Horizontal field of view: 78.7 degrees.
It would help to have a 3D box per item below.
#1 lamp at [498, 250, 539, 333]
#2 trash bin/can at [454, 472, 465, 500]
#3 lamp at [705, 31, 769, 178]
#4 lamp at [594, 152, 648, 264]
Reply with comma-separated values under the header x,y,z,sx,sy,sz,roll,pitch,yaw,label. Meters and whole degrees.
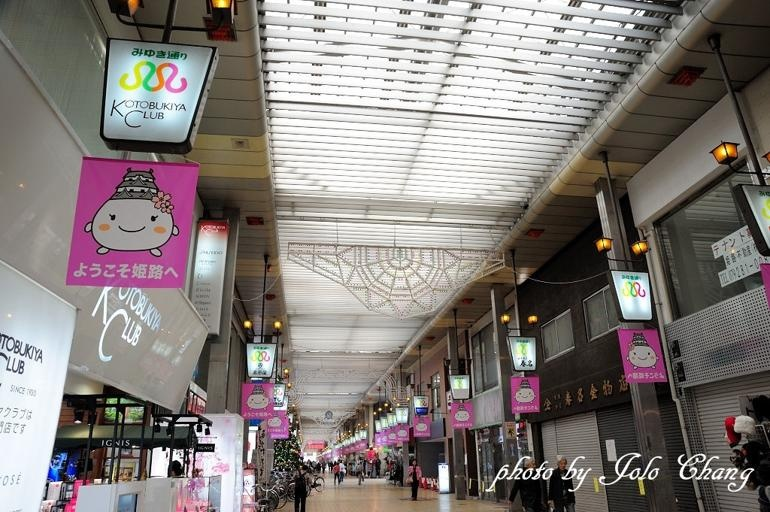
x,y,z,sx,sy,sz,roll,pitch,yaw,label
4.094,1.053,14.604,1.125,2.510,1.089,3,-10,-35,lamp
3.106,9.351,19.062,0.503,0.909,0.410,-2,-27,-2,trash bin/can
5.559,-2.433,7.347,0.396,2.224,0.304,-10,-7,1,lamp
4.803,-0.698,9.751,0.716,2.033,1.745,-18,-31,28,lamp
